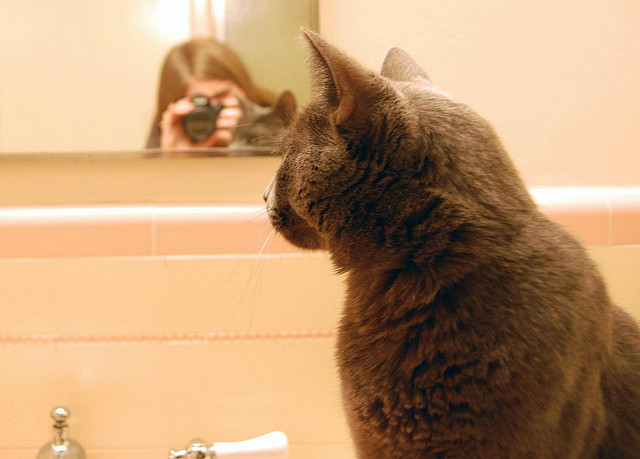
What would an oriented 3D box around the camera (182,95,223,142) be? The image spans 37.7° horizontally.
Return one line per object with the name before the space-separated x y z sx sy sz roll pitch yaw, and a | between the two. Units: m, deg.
camera | -0.246 -0.234 1.883 0.111 0.096 0.063 -3 3 -4
